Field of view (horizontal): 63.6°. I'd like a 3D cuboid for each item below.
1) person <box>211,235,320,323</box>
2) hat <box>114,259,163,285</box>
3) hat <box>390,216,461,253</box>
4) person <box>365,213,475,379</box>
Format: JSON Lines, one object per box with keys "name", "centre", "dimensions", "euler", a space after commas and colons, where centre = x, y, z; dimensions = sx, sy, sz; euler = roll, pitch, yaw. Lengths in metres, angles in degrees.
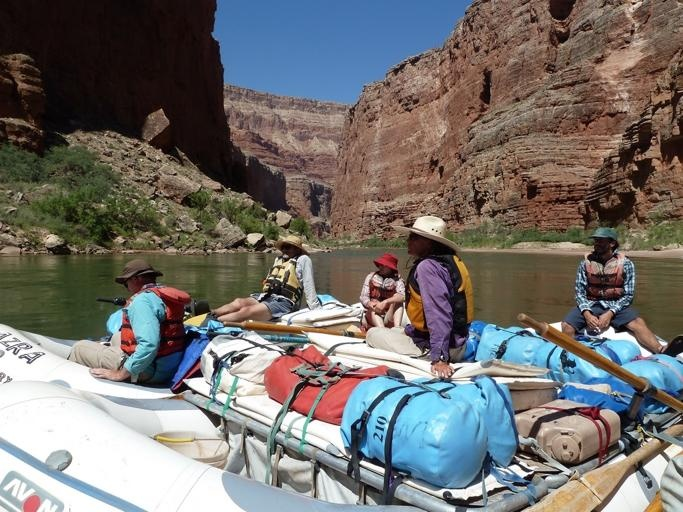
{"name": "person", "centre": [-1.126, 0.333, 7.303], "dimensions": [1.530, 0.997, 0.766], "euler": [-15, 22, -35]}
{"name": "hat", "centre": [-1.812, 0.134, 5.018], "dimensions": [0.367, 0.142, 0.344], "euler": [-4, -2, 2]}
{"name": "hat", "centre": [0.750, -0.266, 4.930], "dimensions": [0.475, 0.171, 0.404], "euler": [15, -4, 35]}
{"name": "person", "centre": [0.698, 0.332, 5.025], "dimensions": [1.023, 1.239, 1.478], "euler": [0, 4, 10]}
